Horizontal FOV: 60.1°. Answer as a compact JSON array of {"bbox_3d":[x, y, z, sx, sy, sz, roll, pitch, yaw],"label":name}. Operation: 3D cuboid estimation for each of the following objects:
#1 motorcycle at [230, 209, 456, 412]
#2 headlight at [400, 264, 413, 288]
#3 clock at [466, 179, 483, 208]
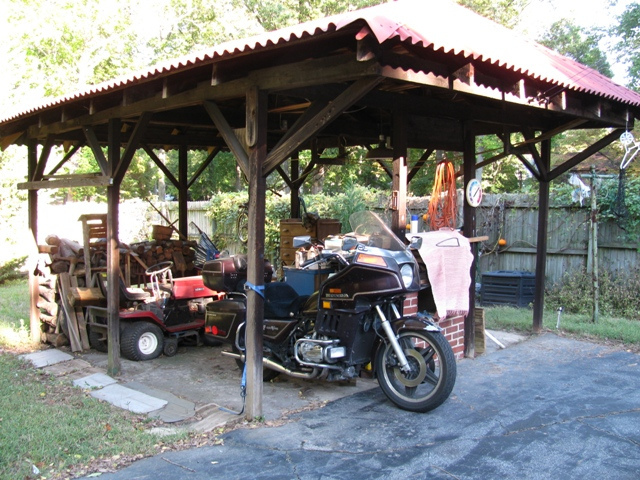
[{"bbox_3d":[0.083,0.749,6.220,2.695,2.010,1.094,-1,-3,34],"label":"motorcycle"},{"bbox_3d":[0.896,0.357,5.646,0.053,0.206,0.157,-2,-3,39],"label":"headlight"},{"bbox_3d":[2.074,-0.622,7.409,0.129,0.385,0.415,4,9,29],"label":"clock"}]
